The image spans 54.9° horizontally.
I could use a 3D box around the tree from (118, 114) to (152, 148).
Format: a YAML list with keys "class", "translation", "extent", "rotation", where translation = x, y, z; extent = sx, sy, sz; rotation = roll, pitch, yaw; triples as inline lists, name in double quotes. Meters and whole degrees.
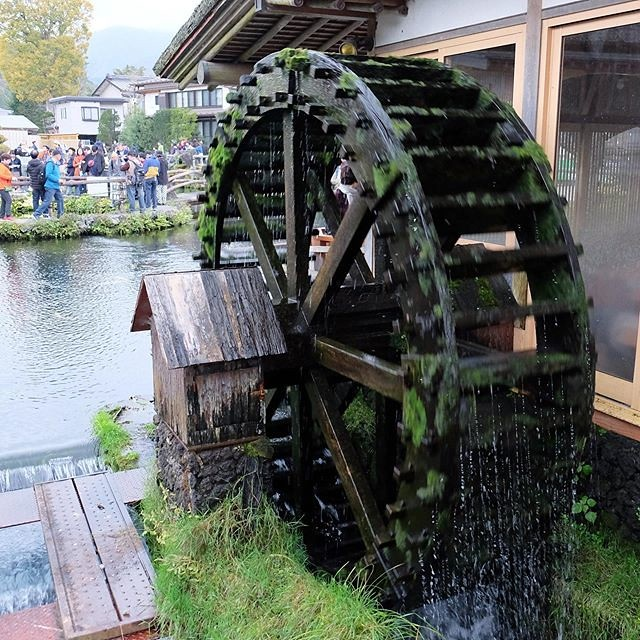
- class: "tree"
  translation: [-9.980, -10.405, 34.019]
  extent: [1.694, 2.550, 1.704]
  rotation: [-12, 19, -32]
